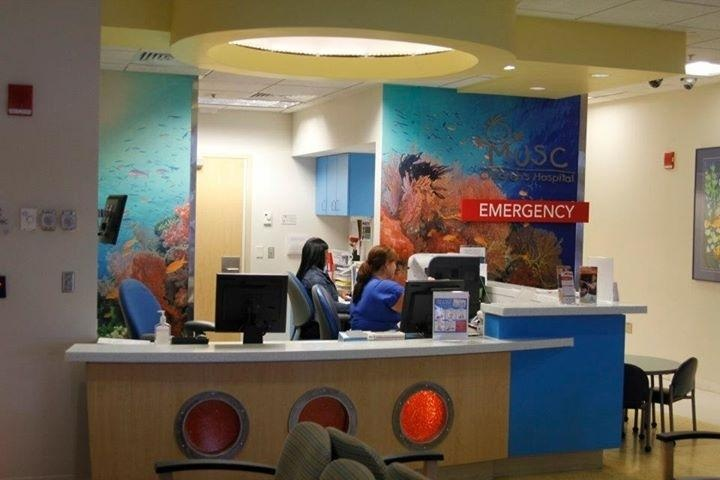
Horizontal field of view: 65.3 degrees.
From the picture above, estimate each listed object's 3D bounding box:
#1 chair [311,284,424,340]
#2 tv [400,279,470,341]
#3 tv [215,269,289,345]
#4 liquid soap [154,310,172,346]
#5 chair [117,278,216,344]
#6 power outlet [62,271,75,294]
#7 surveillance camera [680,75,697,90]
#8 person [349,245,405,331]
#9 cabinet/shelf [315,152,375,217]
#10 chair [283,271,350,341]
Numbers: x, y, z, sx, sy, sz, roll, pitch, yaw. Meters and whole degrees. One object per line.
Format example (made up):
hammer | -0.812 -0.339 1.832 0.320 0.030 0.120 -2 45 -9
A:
chair | -0.004 0.674 5.499 0.807 0.703 0.604 0 -1 -12
tv | 0.624 0.621 4.839 0.621 0.556 0.261 3 1 -23
tv | -0.817 0.465 4.198 0.524 0.452 0.102 -2 14 0
liquid soap | -1.518 0.660 4.280 0.123 0.227 0.328 -8 15 -21
chair | -1.571 0.616 5.046 0.891 0.819 0.657 -1 -5 2
power outlet | -2.303 0.329 4.414 0.105 0.164 0.040 -3 14 -2
surveillance camera | 4.367 -2.088 7.456 0.188 0.112 0.315 1 2 7
person | 0.144 0.487 5.278 0.503 0.796 0.536 -3 14 -2
cabinet/shelf | -0.196 -0.831 8.356 0.431 0.869 1.042 -1 1 -24
chair | -0.557 0.895 6.681 0.673 0.929 0.713 4 4 -13
